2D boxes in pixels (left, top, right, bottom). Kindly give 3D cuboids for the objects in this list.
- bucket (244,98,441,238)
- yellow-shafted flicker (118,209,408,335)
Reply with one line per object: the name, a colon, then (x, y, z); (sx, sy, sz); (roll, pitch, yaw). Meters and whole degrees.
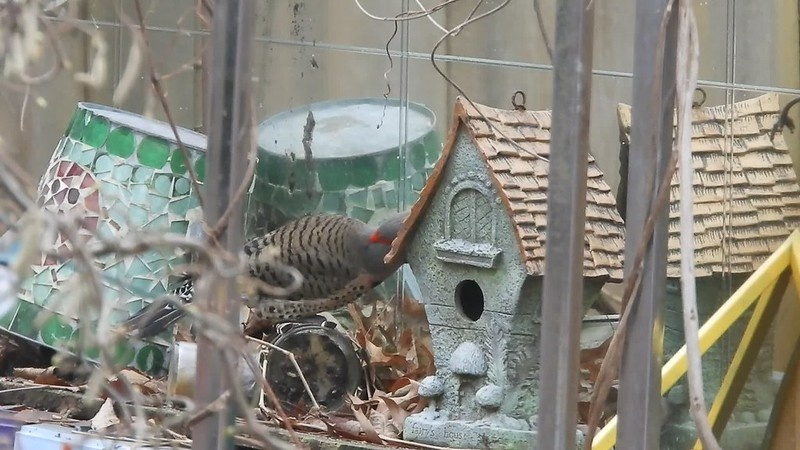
bucket: (-0.223, -0.144, 5.163); (0.575, 0.227, 0.552); (3, 12, -1)
yellow-shafted flicker: (-0.359, 0.148, 4.820); (0.950, 0.422, 0.263); (14, -16, -43)
